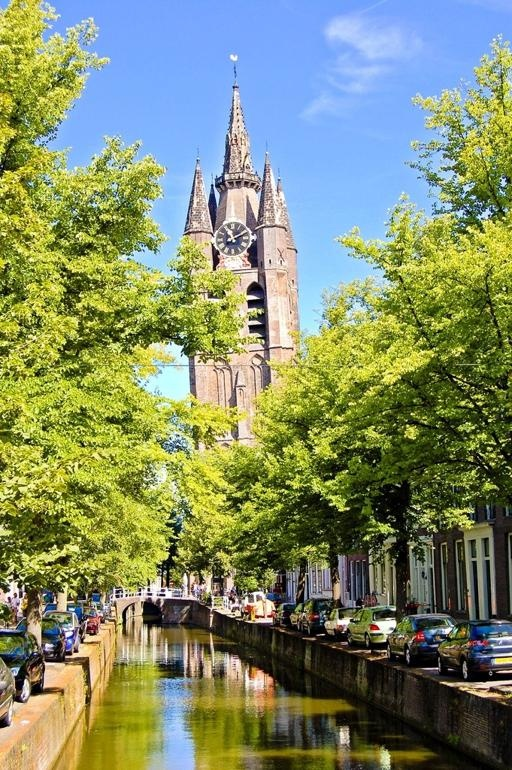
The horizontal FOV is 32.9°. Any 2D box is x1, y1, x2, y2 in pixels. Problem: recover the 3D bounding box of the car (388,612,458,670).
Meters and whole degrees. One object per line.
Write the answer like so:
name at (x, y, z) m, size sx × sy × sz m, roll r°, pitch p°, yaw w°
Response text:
car at (3.778, 5.861, 20.032) m, size 0.905 × 0.677 × 2.190 m, roll 0°, pitch -9°, yaw -3°
